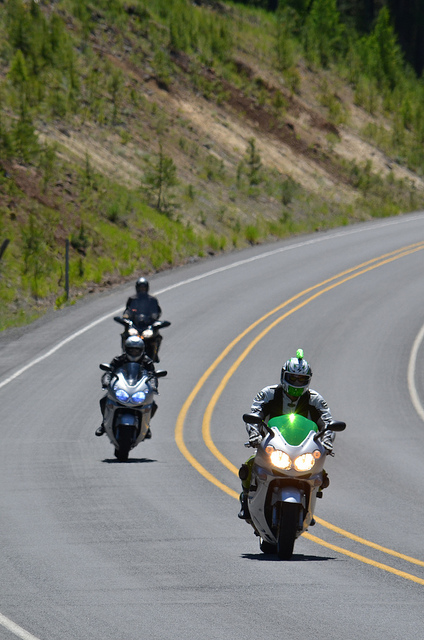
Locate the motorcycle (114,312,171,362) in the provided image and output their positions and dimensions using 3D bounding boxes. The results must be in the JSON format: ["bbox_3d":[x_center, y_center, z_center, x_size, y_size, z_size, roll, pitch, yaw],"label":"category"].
[{"bbox_3d":[-1.113,0.349,15.346,0.697,0.902,1.620,5,6,23],"label":"motorcycle"}]

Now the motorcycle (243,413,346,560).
[{"bbox_3d":[0.651,1.424,7.796,0.626,0.943,1.571,5,-6,2],"label":"motorcycle"}]

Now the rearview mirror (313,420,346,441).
[{"bbox_3d":[1.099,1.010,8.489,0.165,0.271,0.111,56,0,9],"label":"rearview mirror"}]

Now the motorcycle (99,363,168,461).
[{"bbox_3d":[-1.157,1.264,12.640,0.671,1.212,1.282,2,5,-2],"label":"motorcycle"}]

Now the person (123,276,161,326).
[{"bbox_3d":[-1.223,-0.370,15.782,0.433,0.554,0.953,0,18,0],"label":"person"}]
